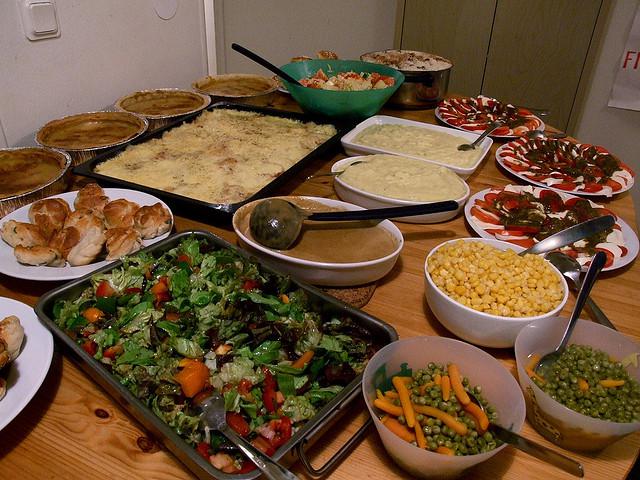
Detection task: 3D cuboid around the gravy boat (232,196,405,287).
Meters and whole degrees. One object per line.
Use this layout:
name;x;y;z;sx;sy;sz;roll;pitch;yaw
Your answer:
gravy boat;0.018;0.052;1.525;0.447;0.098;0.367;1;34;-11

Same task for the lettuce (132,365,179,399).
lettuce;-0.440;0.359;1.197;0.082;0.028;0.087;-20;40;-32

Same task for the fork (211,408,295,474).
fork;-0.148;0.475;1.052;0.091;0.023;0.275;-10;24;-38

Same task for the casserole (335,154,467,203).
casserole;0.324;-0.256;1.905;0.374;0.057;0.260;16;37;22

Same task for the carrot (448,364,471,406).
carrot;0.365;0.380;1.231;0.047;0.046;0.175;-4;6;4

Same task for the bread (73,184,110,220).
bread;-0.850;-0.146;1.750;0.145;0.051;0.116;9;54;12

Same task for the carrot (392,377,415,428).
carrot;0.211;0.406;1.155;0.029;0.026;0.118;10;25;-15

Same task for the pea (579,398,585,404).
pea;0.681;0.422;1.205;0.010;0.004;0.013;-1;30;17

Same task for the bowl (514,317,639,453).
bowl;0.622;0.436;1.273;0.320;0.167;0.305;1;35;0

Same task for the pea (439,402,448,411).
pea;0.309;0.422;1.164;0.016;0.012;0.016;11;-18;-40

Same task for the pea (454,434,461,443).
pea;0.333;0.485;1.121;0.016;0.014;0.014;11;38;10

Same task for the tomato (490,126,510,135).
tomato;0.998;-0.609;2.553;0.068;0.030;0.075;-10;15;-7

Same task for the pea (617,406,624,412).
pea;0.766;0.433;1.176;0.011;0.006;0.011;3;32;11

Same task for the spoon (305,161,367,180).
spoon;0.072;-0.313;2.073;0.316;0.057;0.038;-22;43;-38

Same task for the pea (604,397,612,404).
pea;0.741;0.415;1.190;0.016;0.013;0.012;34;43;28

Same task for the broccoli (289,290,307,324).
broccoli;-0.060;0.193;1.332;0.045;0.020;0.081;-6;37;-8

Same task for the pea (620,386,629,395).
pea;0.787;0.391;1.199;0.018;0.011;0.014;29;45;9

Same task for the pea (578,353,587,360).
pea;0.719;0.322;1.270;0.017;0.014;0.013;4;2;-3

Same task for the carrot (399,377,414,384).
carrot;0.232;0.377;1.233;0.039;0.012;0.012;8;35;-21

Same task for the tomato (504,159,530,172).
tomato;0.945;-0.371;2.232;0.052;0.018;0.082;13;21;-14

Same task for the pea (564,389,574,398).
pea;0.650;0.402;1.209;0.019;0.011;0.015;31;57;28

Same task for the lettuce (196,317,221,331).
lettuce;-0.313;0.233;1.294;0.043;0.015;0.044;16;41;22

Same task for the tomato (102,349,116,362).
tomato;-0.578;0.314;1.263;0.034;0.024;0.021;11;37;10

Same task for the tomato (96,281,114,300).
tomato;-0.644;0.151;1.381;0.043;0.026;0.045;-18;76;-4

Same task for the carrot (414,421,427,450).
carrot;0.239;0.476;1.120;0.016;0.016;0.067;-13;31;-6

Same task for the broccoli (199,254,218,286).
broccoli;-0.348;0.091;1.439;0.052;0.023;0.081;-23;41;-16

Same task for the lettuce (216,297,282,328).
lettuce;-0.209;0.175;1.282;0.132;0.043;0.090;16;38;30

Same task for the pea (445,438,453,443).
pea;0.311;0.488;1.122;0.021;0.008;0.009;0;37;-4

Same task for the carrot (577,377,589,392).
carrot;0.688;0.382;1.212;0.015;0.011;0.032;-8;33;0

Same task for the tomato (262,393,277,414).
tomato;-0.134;0.428;1.200;0.042;0.042;0.036;-3;-9;-11

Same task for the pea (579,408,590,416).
pea;0.677;0.442;1.183;0.015;0.017;0.016;-14;28;-8

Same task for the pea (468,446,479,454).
pea;0.366;0.508;1.108;0.015;0.012;0.016;1;4;21

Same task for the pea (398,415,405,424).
pea;0.199;0.445;1.138;0.015;0.016;0.015;-1;1;-10

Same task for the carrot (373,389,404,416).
carrot;0.172;0.411;1.165;0.062;0.017;0.053;21;29;0

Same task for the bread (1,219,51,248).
bread;-0.998;-0.018;1.572;0.141;0.051;0.108;20;18;14

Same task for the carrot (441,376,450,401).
carrot;0.319;0.383;1.183;0.016;0.017;0.054;17;48;-11

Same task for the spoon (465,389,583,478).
spoon;0.469;0.456;1.114;0.061;0.055;0.312;-22;10;-20

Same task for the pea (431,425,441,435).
pea;0.284;0.469;1.134;0.022;0.013;0.018;5;37;2

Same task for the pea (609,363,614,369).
pea;0.785;0.342;1.244;0.010;0.006;0.010;7;31;11

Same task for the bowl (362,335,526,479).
bowl;0.297;0.470;1.242;0.342;0.159;0.355;7;34;-5

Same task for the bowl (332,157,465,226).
bowl;0.313;-0.268;1.841;0.417;0.131;0.313;12;37;18

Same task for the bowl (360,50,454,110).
bowl;0.523;-1.054;2.999;0.560;0.215;0.470;18;37;24

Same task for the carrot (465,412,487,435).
carrot;0.384;0.456;1.143;0.011;0.040;0.040;-26;51;11
